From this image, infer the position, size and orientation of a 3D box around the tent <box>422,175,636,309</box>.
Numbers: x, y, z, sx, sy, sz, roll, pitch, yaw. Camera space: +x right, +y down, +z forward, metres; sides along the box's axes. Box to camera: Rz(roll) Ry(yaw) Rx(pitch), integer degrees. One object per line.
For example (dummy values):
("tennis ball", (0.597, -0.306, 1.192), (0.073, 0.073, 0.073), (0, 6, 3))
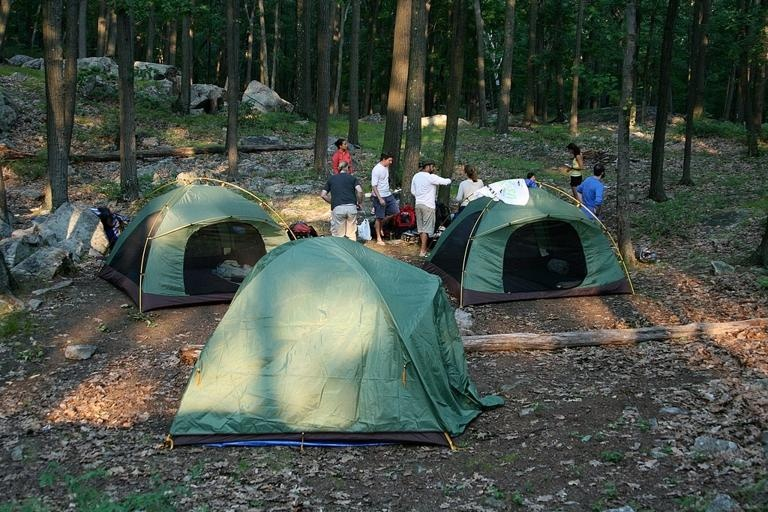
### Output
("tent", (3.171, -0.090, 16.491), (3.787, 2.011, 3.663), (-4, 12, -15))

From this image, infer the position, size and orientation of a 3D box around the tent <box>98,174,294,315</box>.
("tent", (-5.220, 0.051, 16.021), (3.824, 2.346, 3.668), (-13, 19, -42))

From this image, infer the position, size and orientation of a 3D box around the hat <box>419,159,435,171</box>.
("hat", (1.169, -2.391, 16.997), (0.323, 0.308, 0.382), (0, 11, -5))

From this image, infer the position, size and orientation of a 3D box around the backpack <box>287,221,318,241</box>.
("backpack", (-2.226, -0.675, 17.065), (0.695, 0.370, 0.698), (4, 11, 27))

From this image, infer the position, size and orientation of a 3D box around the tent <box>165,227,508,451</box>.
("tent", (-1.068, 1.722, 11.786), (4.412, 2.106, 4.073), (1, 7, 7))
